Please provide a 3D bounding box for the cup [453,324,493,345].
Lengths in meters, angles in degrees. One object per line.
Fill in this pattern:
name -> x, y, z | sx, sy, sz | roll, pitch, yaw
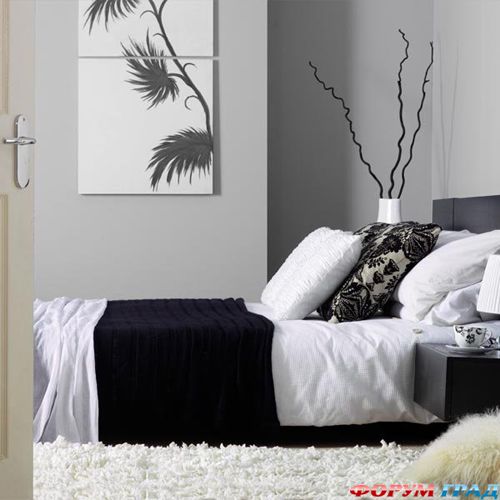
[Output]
cup -> 0.747, 0.300, 2.339 | 0.093, 0.074, 0.086 | 1, -11, 0

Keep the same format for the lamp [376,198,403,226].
lamp -> 0.796, -0.221, 4.071 | 0.151, 0.205, 0.169 | 0, -2, -3
